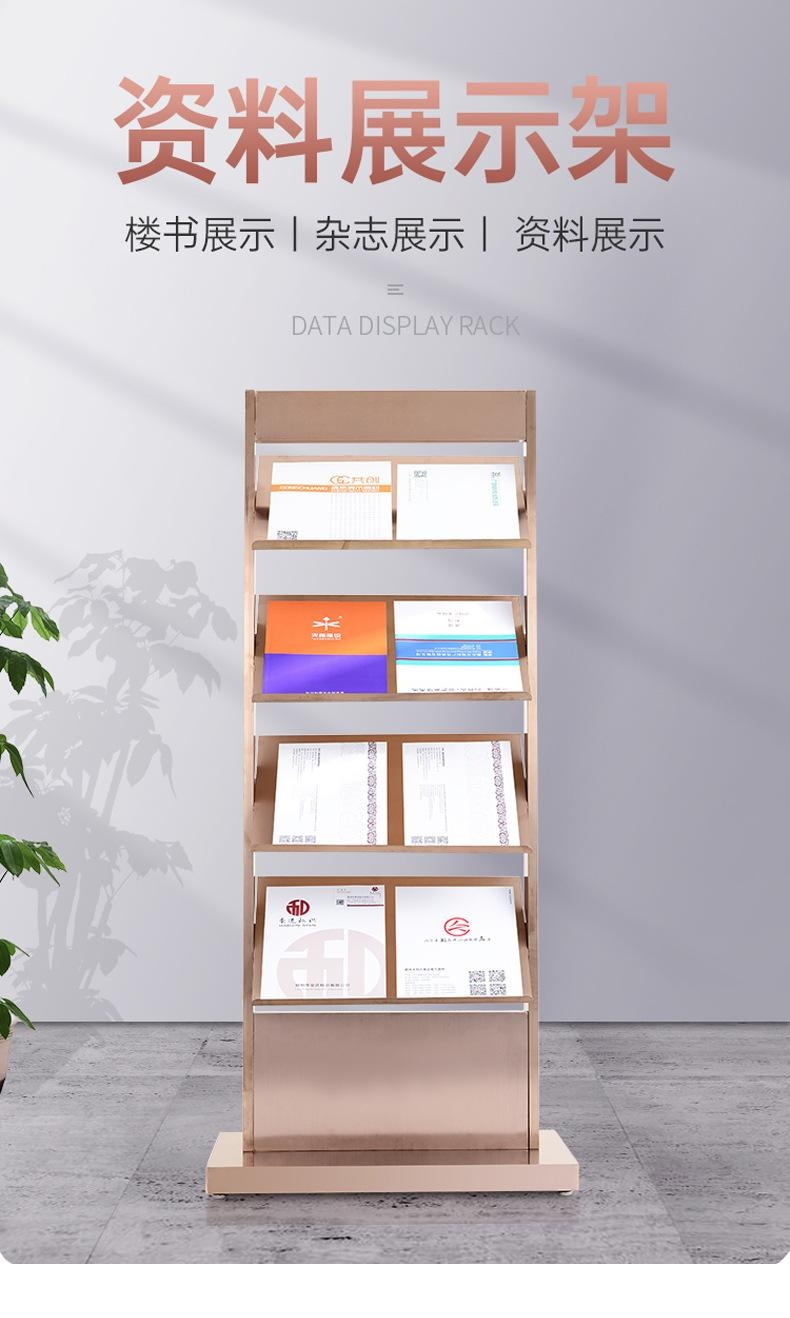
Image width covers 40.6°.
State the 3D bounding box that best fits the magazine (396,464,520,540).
[{"bbox_3d":[0.139,-0.346,2.419,0.249,0.184,0.054,0,-11,1],"label":"magazine"}]

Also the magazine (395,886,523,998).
[{"bbox_3d":[0.134,0.610,2.297,0.265,0.248,0.109,3,-19,-4],"label":"magazine"}]

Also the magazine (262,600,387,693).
[{"bbox_3d":[-0.142,-0.022,2.329,0.215,0.217,0.051,-1,-18,0],"label":"magazine"}]

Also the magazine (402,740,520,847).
[{"bbox_3d":[0.144,0.315,2.350,0.210,0.206,0.050,3,-21,-4],"label":"magazine"}]

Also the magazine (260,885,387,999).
[{"bbox_3d":[-0.149,0.608,2.292,0.265,0.253,0.102,3,-19,-1],"label":"magazine"}]

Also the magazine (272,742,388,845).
[{"bbox_3d":[-0.144,0.300,2.289,0.229,0.243,0.025,-3,-44,0],"label":"magazine"}]

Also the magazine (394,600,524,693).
[{"bbox_3d":[0.138,-0.034,2.342,0.297,0.028,0.350,-1,-39,8],"label":"magazine"}]
